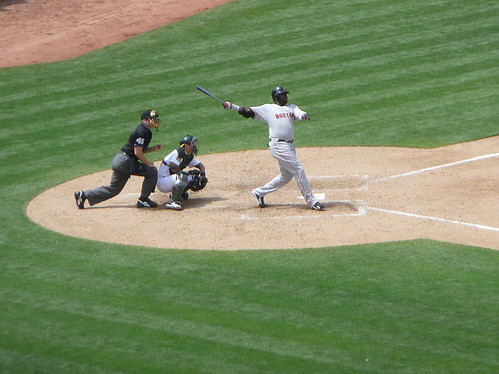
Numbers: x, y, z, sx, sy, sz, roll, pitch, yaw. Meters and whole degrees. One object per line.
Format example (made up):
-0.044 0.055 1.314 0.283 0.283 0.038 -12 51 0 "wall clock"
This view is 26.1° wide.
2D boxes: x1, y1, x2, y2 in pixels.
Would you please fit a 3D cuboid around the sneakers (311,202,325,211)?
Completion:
1.447 0.404 22.988 0.279 0.199 0.139 -11 21 1 "sneakers"

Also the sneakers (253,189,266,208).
0.207 0.262 23.467 0.271 0.446 0.164 -24 11 7 "sneakers"

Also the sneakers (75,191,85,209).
-3.743 0.274 23.699 0.192 0.404 0.193 -9 20 -7 "sneakers"

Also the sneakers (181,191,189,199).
-1.444 0.195 24.229 0.197 0.137 0.167 -1 0 0 "sneakers"

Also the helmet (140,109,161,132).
-2.188 -1.456 23.754 0.625 0.476 0.450 -13 4 -5 "helmet"

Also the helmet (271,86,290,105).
0.591 -1.973 23.403 0.487 0.394 0.380 -10 9 -3 "helmet"

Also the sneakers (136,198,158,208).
-2.271 0.351 23.716 0.437 0.234 0.161 -2 35 -6 "sneakers"

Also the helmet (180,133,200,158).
-1.328 -0.971 23.876 0.506 0.386 0.411 -1 28 -4 "helmet"

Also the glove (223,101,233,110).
-0.490 -1.748 23.035 0.148 0.074 0.184 20 -12 -24 "glove"

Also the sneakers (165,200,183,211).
-1.660 0.405 23.596 0.409 0.154 0.161 1 5 25 "sneakers"
